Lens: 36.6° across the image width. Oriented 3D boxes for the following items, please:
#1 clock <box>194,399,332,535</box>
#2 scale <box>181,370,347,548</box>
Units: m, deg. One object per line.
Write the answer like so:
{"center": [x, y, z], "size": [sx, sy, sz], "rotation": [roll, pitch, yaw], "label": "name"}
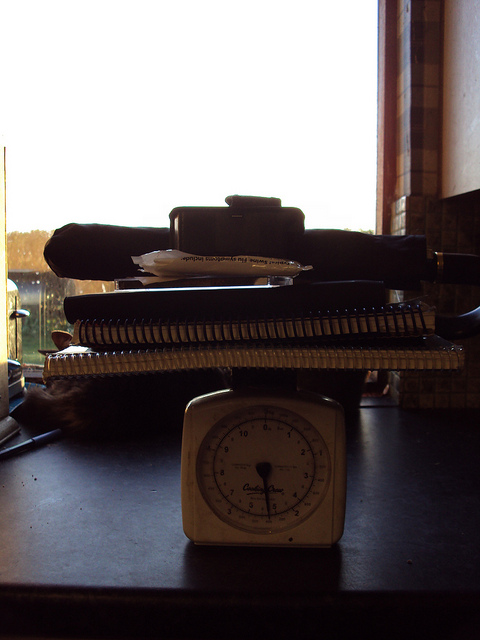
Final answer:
{"center": [0.029, 0.161, 0.786], "size": [0.124, 0.135, 0.048], "rotation": [-1, 0, 2], "label": "clock"}
{"center": [0.025, 0.160, 0.788], "size": [0.166, 0.214, 0.080], "rotation": [0, -2, 0], "label": "scale"}
